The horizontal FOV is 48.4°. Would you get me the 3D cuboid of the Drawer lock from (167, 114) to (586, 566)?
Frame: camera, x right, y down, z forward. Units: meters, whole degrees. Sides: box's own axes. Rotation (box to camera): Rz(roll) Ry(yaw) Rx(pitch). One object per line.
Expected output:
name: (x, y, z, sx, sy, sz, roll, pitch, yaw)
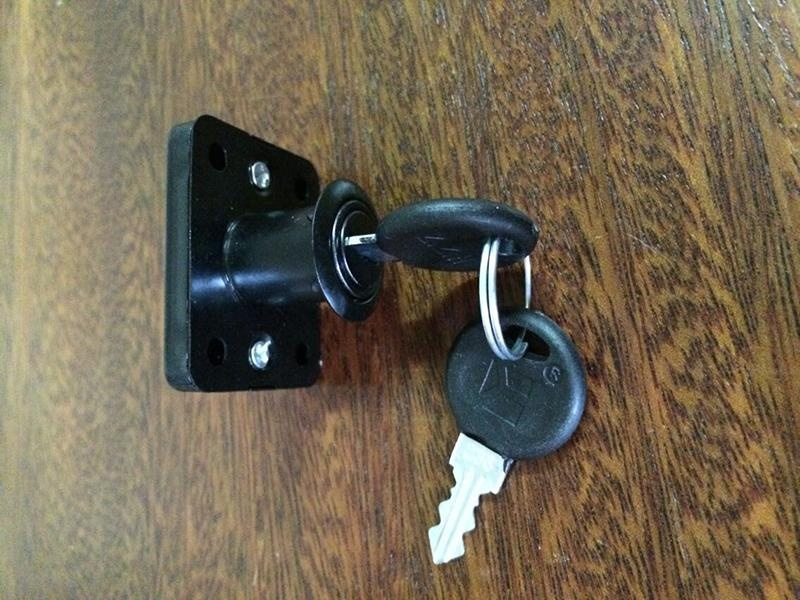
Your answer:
Drawer lock: (-0.054, 0.001, 0.974, 0.375, 0.160, 0.492, 3, 86, -15)
